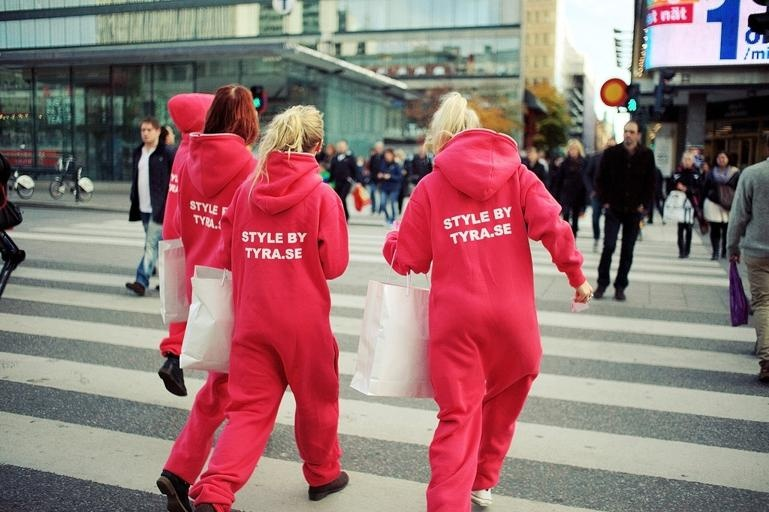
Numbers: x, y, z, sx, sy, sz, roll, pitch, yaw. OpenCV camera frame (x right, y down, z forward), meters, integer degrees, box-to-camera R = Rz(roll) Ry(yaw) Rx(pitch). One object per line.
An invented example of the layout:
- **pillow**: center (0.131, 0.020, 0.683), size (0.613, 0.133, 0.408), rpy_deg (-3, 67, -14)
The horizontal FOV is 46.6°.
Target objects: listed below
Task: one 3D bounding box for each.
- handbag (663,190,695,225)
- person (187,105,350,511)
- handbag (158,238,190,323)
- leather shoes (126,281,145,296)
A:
- **handbag**: center (5.917, -1.097, 18.137), size (0.534, 0.857, 0.793), rpy_deg (3, -4, 20)
- **person**: center (-0.938, 0.496, 7.909), size (1.272, 3.549, 0.957), rpy_deg (-3, 11, -14)
- **handbag**: center (-1.994, 0.221, 8.523), size (0.302, 1.060, 0.659), rpy_deg (-2, 5, -11)
- **leather shoes**: center (-3.605, 0.446, 12.960), size (0.283, 0.214, 0.300), rpy_deg (-1, 12, -4)
